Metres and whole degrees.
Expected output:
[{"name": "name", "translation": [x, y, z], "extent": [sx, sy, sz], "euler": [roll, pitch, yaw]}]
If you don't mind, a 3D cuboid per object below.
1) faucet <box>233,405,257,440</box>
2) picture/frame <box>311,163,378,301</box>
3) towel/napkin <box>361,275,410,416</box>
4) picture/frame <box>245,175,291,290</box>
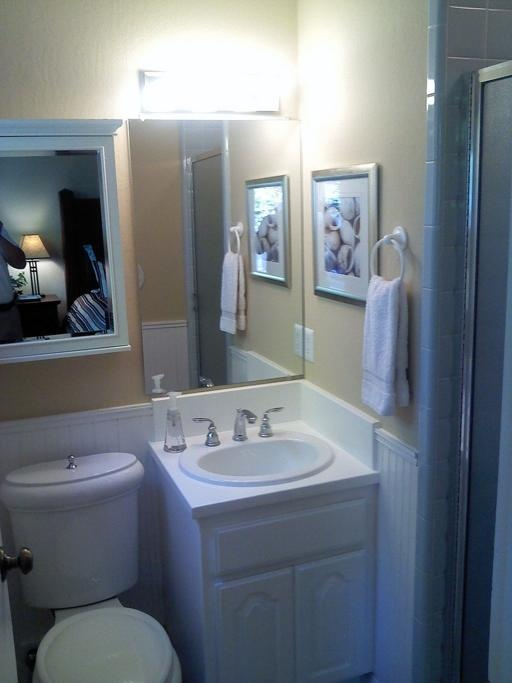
[{"name": "faucet", "translation": [-0.048, 0.283, 1.866], "extent": [0.042, 0.124, 0.135], "euler": [0, -3, -17]}, {"name": "picture/frame", "translation": [0.276, -0.345, 1.684], "extent": [0.019, 0.446, 0.371], "euler": [-4, 6, -21]}, {"name": "towel/napkin", "translation": [0.341, 0.009, 1.498], "extent": [0.089, 0.374, 0.188], "euler": [-7, 11, -14]}, {"name": "picture/frame", "translation": [0.037, -0.396, 1.987], "extent": [0.155, 0.423, 0.027], "euler": [2, -21, -9]}]
